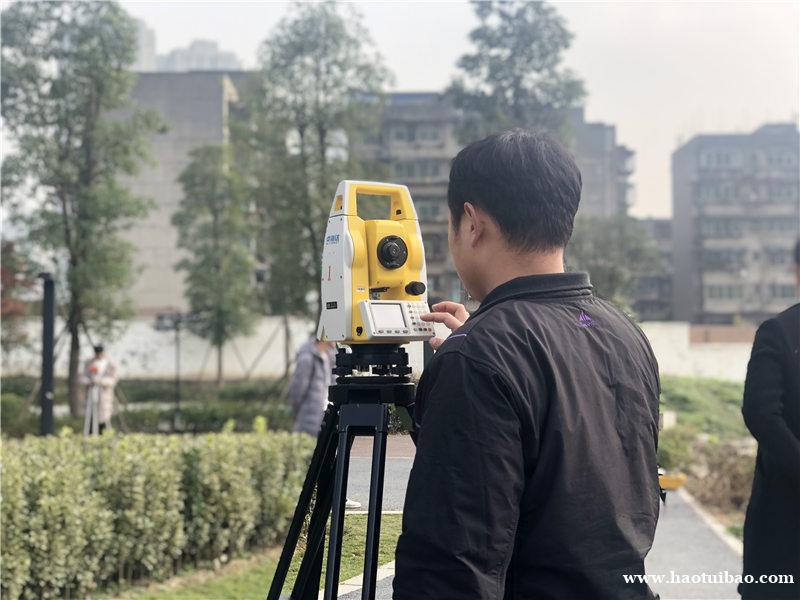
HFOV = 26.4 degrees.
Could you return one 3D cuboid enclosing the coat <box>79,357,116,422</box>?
[{"bbox_3d":[-2.018,0.624,11.512,0.203,0.470,0.123,-11,-9,40],"label":"coat"}]
